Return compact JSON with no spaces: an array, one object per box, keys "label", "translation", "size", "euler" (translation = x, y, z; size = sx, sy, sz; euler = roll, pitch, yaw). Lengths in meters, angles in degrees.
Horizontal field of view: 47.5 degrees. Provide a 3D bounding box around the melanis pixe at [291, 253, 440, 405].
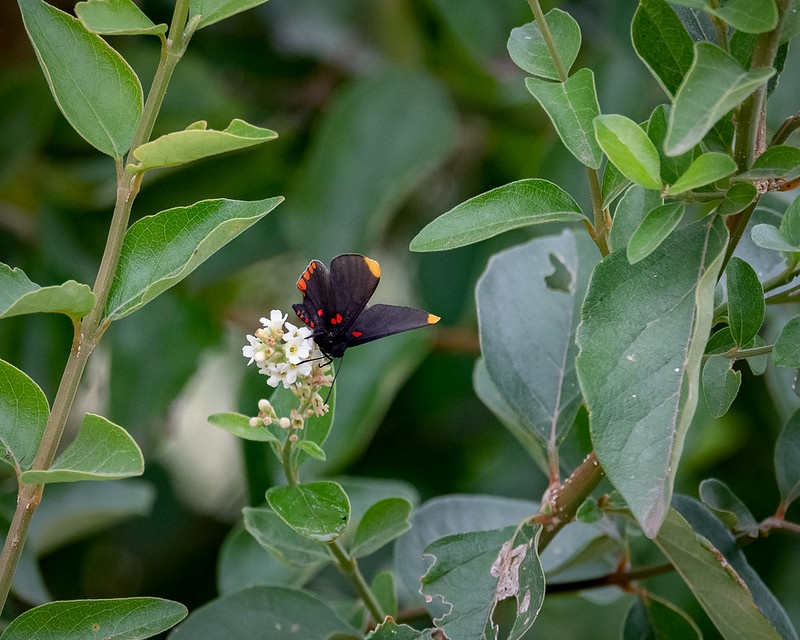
[{"label":"melanis pixe","translation":[-0.093,-0.009,1.492],"size":[0.217,0.118,0.210],"euler":[17,18,-29]}]
